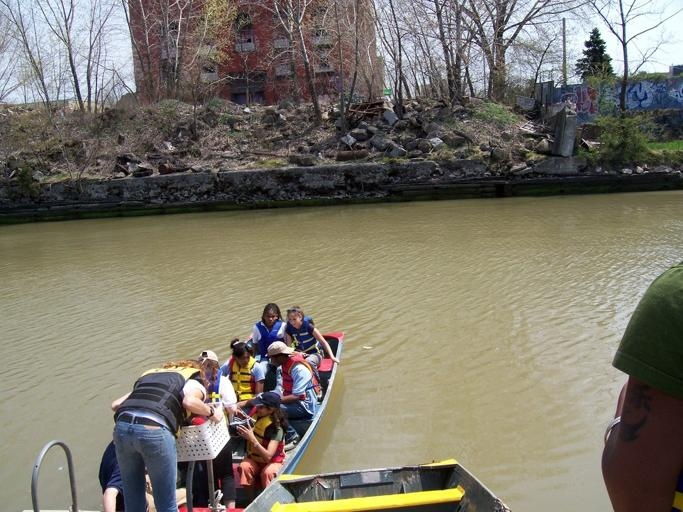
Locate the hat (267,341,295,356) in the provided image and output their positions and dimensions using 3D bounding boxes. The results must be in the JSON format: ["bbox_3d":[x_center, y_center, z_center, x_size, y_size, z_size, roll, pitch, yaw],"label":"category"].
[{"bbox_3d":[-1.005,1.557,11.314,0.352,0.134,0.239,-7,10,-24],"label":"hat"}]

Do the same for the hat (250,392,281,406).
[{"bbox_3d":[-1.112,2.176,10.237,0.314,0.189,0.228,2,1,1],"label":"hat"}]

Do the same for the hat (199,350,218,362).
[{"bbox_3d":[-2.011,1.518,10.289,0.274,0.205,0.398,6,-4,-2],"label":"hat"}]

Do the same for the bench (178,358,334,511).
[{"bbox_3d":[-0.687,2.851,10.899,0.983,0.605,4.454,-1,14,15],"label":"bench"}]

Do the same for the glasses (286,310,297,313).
[{"bbox_3d":[-0.933,1.060,12.872,0.161,0.085,0.221,-2,-2,9],"label":"glasses"}]

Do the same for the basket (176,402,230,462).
[{"bbox_3d":[-1.782,2.416,9.154,0.792,0.535,0.550,-4,8,-5],"label":"basket"}]
